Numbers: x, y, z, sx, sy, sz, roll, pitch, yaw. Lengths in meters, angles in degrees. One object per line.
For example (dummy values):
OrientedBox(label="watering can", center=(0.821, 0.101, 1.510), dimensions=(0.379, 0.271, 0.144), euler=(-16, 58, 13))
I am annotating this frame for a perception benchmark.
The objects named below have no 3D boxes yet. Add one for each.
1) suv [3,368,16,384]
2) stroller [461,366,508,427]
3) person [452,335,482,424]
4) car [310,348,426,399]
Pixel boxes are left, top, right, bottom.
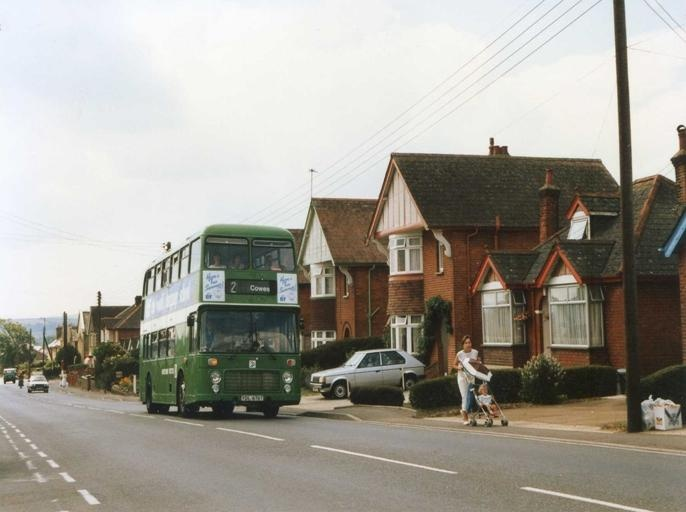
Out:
OrientedBox(label="suv", center=(-48.824, 17.491, 129.363), dimensions=(2.018, 2.100, 3.763), euler=(1, -9, -17))
OrientedBox(label="stroller", center=(3.902, 3.959, 25.079), dimensions=(1.191, 1.975, 1.537), euler=(-3, -5, 3))
OrientedBox(label="person", center=(3.418, 3.509, 25.026), dimensions=(0.625, 2.397, 0.946), euler=(0, -3, 0))
OrientedBox(label="car", center=(1.080, 4.898, 36.631), dimensions=(4.773, 2.031, 2.043), euler=(2, -4, -26))
